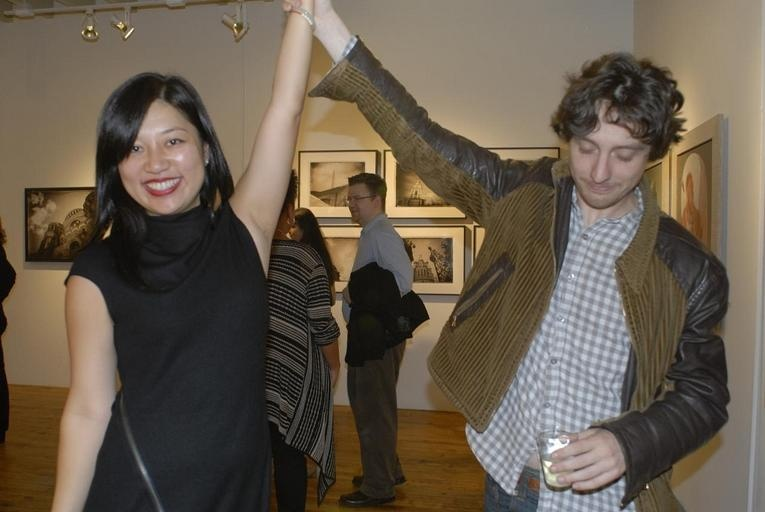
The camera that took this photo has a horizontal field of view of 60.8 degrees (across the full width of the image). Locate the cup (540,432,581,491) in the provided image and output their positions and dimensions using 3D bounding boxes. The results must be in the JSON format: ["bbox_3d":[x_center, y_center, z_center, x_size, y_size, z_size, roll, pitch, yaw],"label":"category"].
[{"bbox_3d":[0.613,0.741,2.349,0.099,0.198,0.090,0,5,-6],"label":"cup"}]

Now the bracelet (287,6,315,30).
[{"bbox_3d":[-0.291,-0.873,2.388,0.076,0.019,0.073,32,14,33],"label":"bracelet"}]

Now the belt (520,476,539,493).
[{"bbox_3d":[0.584,0.908,2.586,0.054,0.044,0.057,0,2,12],"label":"belt"}]
